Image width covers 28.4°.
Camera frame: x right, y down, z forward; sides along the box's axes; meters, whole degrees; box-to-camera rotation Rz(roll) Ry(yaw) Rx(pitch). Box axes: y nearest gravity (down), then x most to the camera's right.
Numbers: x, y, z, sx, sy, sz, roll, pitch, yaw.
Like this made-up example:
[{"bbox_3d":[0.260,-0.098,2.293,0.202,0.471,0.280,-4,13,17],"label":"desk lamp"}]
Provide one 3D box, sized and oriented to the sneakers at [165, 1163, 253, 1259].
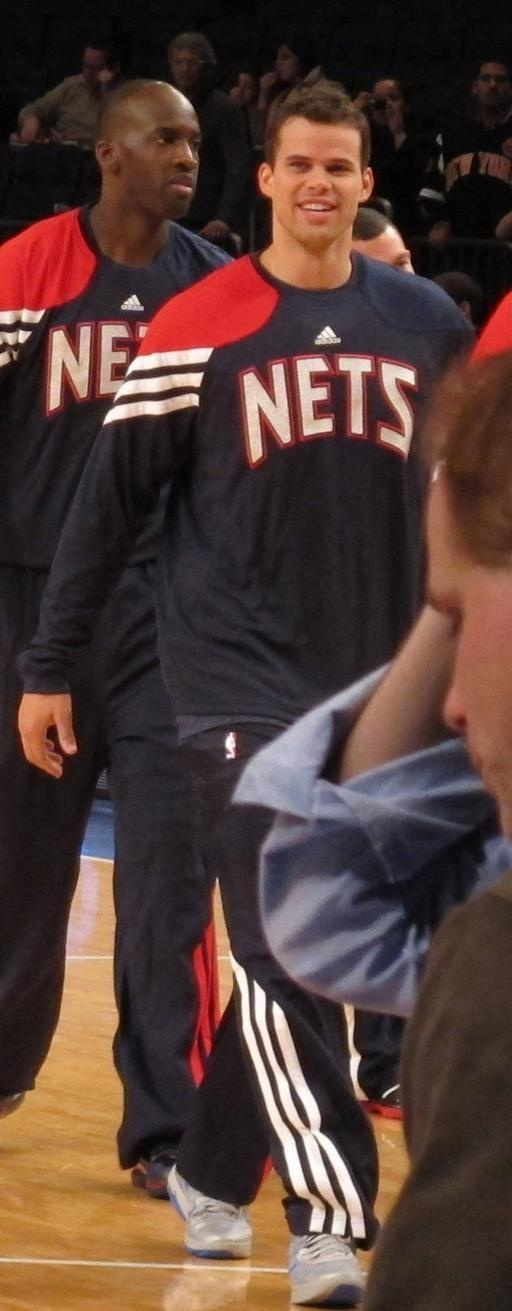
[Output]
[{"bbox_3d":[-0.073,1.174,2.142,0.127,0.176,0.406,10,-21,0],"label":"sneakers"}]
